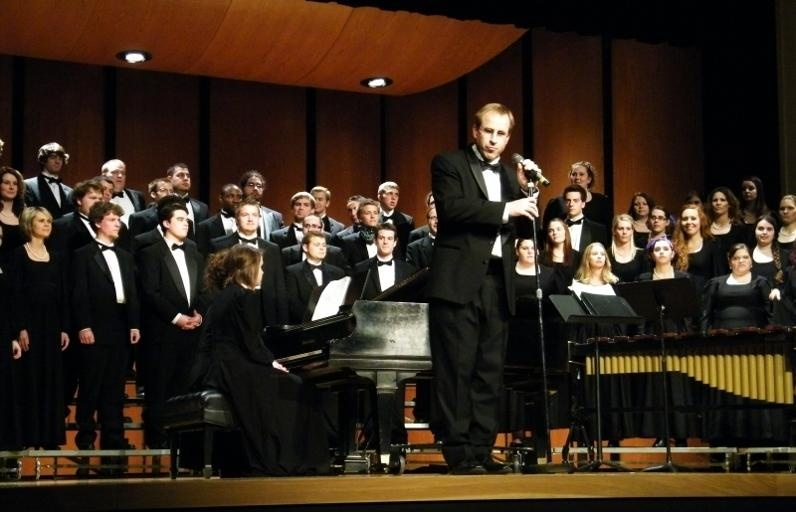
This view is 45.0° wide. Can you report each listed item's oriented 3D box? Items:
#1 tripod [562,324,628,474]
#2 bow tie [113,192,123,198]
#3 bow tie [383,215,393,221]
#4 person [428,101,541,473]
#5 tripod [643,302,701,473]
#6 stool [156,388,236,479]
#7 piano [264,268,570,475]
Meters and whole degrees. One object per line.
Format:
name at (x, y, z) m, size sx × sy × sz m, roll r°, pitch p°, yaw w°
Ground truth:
tripod at (1.708, 1.209, 8.244) m, size 0.452 × 1.330 × 2.032 m, roll -5°, pitch -7°, yaw 10°
bow tie at (-3.145, -0.676, 10.782) m, size 0.088 × 0.069 × 0.023 m, roll -1°, pitch 37°, yaw -9°
bow tie at (-0.128, -0.427, 11.226) m, size 0.083 × 0.061 × 0.082 m, roll 3°, pitch -5°, yaw -1°
person at (0.620, 0.233, 7.127) m, size 0.810 × 2.678 × 0.407 m, roll -3°, pitch -7°, yaw 0°
tripod at (2.267, 1.162, 8.409) m, size 0.285 × 1.414 × 1.703 m, roll -5°, pitch -7°, yaw 15°
stool at (-1.639, 1.502, 8.098) m, size 0.763 × 0.657 × 0.543 m, roll -16°, pitch -15°, yaw 40°
piano at (0.384, 0.947, 8.039) m, size 2.028 × 1.652 × 1.521 m, roll 2°, pitch -8°, yaw -16°
